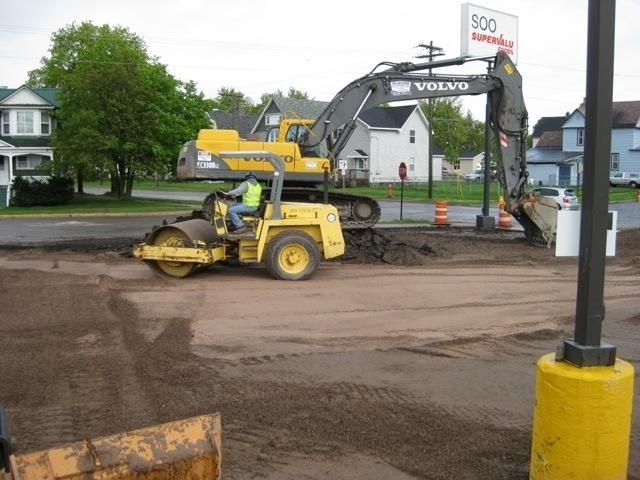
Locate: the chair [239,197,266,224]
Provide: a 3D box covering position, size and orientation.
[{"bbox_3d":[-1.606,-0.739,12.917,0.627,0.704,0.593,0,5,2],"label":"chair"}]

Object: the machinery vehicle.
[{"bbox_3d":[1.502,-2.231,15.987,12.817,6.326,6.461,-1,7,-14],"label":"machinery vehicle"}]

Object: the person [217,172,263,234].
[{"bbox_3d":[-1.755,-0.899,12.922,0.832,1.339,0.542,-3,10,-25],"label":"person"}]
